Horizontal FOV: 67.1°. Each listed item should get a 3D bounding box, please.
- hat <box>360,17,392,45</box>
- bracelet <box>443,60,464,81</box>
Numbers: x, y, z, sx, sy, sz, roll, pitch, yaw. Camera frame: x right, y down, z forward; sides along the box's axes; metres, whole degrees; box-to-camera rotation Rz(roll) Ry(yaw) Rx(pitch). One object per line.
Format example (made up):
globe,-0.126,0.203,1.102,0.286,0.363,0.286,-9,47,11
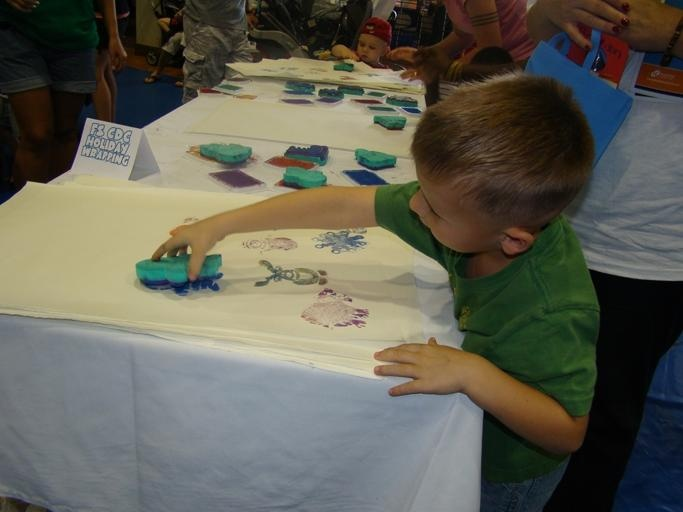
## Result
hat,0.241,-1.399,3.268,0.170,0.108,0.181,40,38,20
bracelet,0.400,-0.654,1.837,0.018,0.067,0.069,19,26,5
